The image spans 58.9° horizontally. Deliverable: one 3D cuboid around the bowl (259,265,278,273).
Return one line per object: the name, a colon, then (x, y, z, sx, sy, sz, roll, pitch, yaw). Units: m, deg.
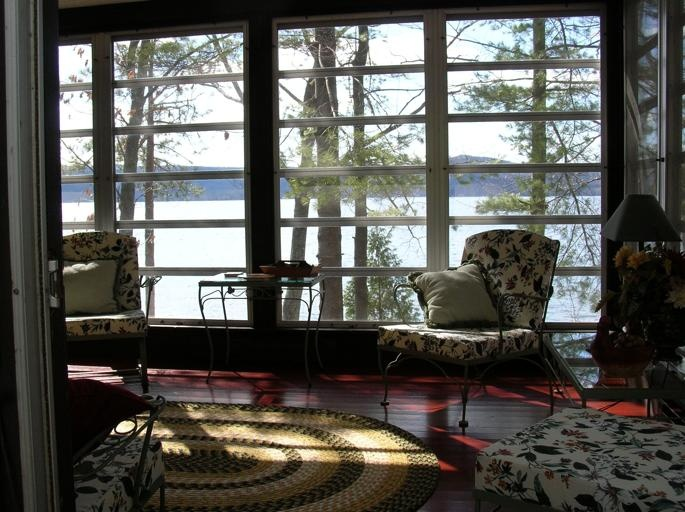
bowl: (-0.528, 0.089, 4.316, 0.102, 0.055, 0.198, -1, 5, -10)

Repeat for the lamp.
lamp: (1.529, -0.170, 3.125, 0.317, 0.271, 0.299, -1, 2, -18)

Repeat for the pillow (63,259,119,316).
pillow: (-1.710, 0.224, 4.103, 0.412, 0.383, 0.145, -10, -18, -28)

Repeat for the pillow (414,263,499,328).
pillow: (0.709, 0.198, 3.845, 0.505, 0.480, 0.148, -16, 9, 28)

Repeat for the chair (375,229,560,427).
chair: (0.769, 0.402, 3.794, 0.887, 1.008, 0.883, -5, 4, -41)

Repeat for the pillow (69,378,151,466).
pillow: (-0.725, 0.500, 1.943, 0.293, 0.259, 0.083, 7, -1, 14)

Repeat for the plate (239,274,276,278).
plate: (-0.600, 0.136, 4.172, 0.250, 0.018, 0.193, 0, 5, 3)

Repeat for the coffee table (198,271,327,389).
coffee table: (-0.577, 0.482, 4.338, 0.788, 0.621, 0.562, 0, -2, 0)
